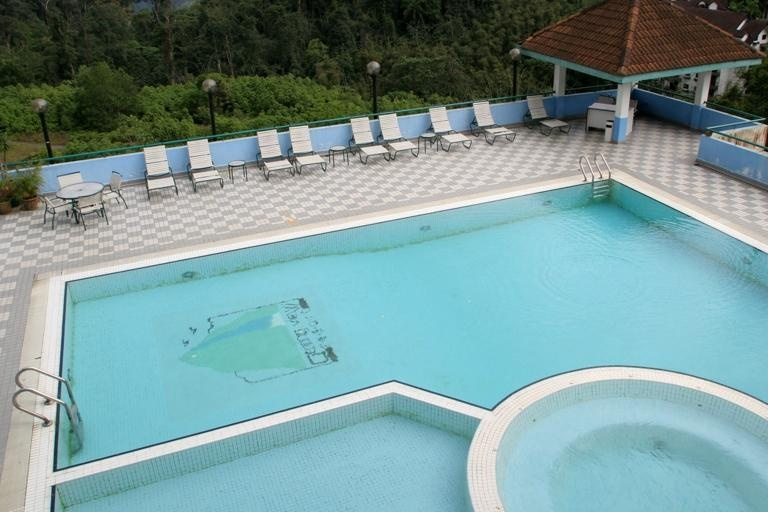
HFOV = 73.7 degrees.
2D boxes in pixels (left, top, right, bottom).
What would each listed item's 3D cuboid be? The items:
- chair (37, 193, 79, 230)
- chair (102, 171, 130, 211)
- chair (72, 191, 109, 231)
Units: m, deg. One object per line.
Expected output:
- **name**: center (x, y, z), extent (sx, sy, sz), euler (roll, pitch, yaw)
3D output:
- **chair**: center (-7.616, -1.004, 11.969), extent (0.564, 0.735, 0.465), euler (-24, 54, -38)
- **chair**: center (-6.759, -1.601, 12.794), extent (0.681, 0.874, 0.577), euler (-24, 55, -35)
- **chair**: center (-6.873, -1.017, 11.877), extent (0.512, 0.783, 0.599), euler (-19, 65, -28)
